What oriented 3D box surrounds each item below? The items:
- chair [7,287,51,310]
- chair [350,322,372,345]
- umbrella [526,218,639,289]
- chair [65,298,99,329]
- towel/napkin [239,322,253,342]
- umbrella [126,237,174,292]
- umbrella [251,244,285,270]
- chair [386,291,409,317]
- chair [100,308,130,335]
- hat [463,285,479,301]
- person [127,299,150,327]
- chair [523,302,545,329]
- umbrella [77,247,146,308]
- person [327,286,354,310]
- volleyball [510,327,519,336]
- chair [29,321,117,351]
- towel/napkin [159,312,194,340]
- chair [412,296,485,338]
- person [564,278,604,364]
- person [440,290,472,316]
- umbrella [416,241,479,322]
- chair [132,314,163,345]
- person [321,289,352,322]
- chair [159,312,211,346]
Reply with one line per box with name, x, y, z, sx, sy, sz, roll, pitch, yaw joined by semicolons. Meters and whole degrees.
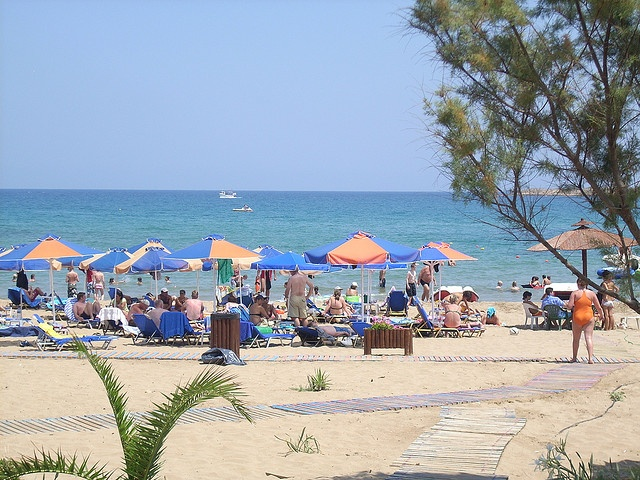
chair;-8.270;1.667;26.787;0.946;0.441;0.639;0;3;-30
chair;0.836;1.844;19.214;0.281;0.459;0.446;1;7;7
umbrella;5.503;0.449;20.420;2.570;1.469;2.747;-1;5;1
chair;-5.297;1.609;21.165;0.848;0.512;0.613;-1;2;33
towel/napkin;-1.465;1.832;18.671;0.344;0.312;0.350;1;3;4
umbrella;-4.553;0.644;24.857;1.172;1.033;1.149;0;1;-3
umbrella;-1.461;0.458;25.805;0.749;0.608;0.756;0;10;-14
chair;2.001;1.659;24.554;0.486;0.685;0.635;1;12;5
chair;-4.483;1.715;20.688;0.621;0.610;0.593;1;6;-4
hat;3.987;1.479;25.008;0.555;0.284;0.785;1;-21;6
person;-3.946;1.617;20.634;0.400;0.721;0.278;5;21;-32
chair;5.086;1.806;22.555;0.559;0.770;0.574;-2;5;-10
umbrella;-5.533;1.184;24.675;1.801;1.407;1.840;1;3;-5
person;0.550;1.566;25.043;0.753;0.534;0.308;1;-9;-29
volleyball;4.300;2.053;20.977;0.134;0.167;0.180;6;19;10
chair;-4.870;1.921;18.656;1.773;0.678;1.061;-1;1;-3
towel/napkin;-2.917;1.729;19.024;0.603;0.469;0.539;0;7;5
chair;2.874;1.773;21.127;1.198;0.652;0.933;0;0;-1
person;4.604;1.438;16.494;0.568;1.501;1.478;-1;-1;16
person;3.328;1.540;23.347;1.070;0.705;0.433;2;5;-2
umbrella;2.772;0.989;24.046;1.734;1.712;1.762;7;11;39
chair;-3.500;1.817;19.269;0.615;0.585;0.458;-1;-1;-2
person;0.421;1.548;22.650;0.762;0.797;0.452;3;-8;-8
chair;-2.827;1.811;19.444;0.610;0.571;0.904;2;9;5
